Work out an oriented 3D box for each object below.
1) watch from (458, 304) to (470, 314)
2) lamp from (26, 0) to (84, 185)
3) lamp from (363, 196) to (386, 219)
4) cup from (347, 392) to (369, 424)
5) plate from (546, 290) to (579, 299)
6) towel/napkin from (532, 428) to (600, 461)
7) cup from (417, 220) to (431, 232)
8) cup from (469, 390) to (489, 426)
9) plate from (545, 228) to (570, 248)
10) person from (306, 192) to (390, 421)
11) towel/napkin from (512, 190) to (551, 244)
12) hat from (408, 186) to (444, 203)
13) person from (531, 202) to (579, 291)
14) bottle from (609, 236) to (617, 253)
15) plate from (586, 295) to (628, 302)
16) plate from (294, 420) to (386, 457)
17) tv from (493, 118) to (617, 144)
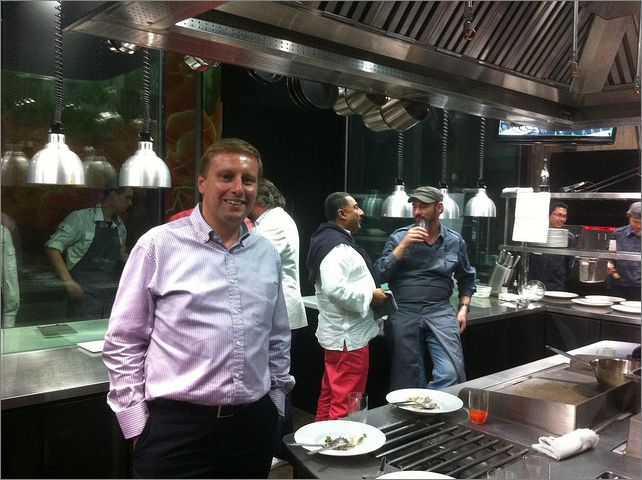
[{"bbox_3d":[1.162,0.532,3.857,0.089,0.051,0.104,7,-7,11],"label":"watch"},{"bbox_3d":[-1.458,-0.729,2.627,0.207,0.834,0.233,4,5,35],"label":"lamp"},{"bbox_3d":[0.695,-0.429,6.126,0.268,0.250,0.261,3,1,-10],"label":"lamp"},{"bbox_3d":[0.154,0.695,1.986,0.078,0.143,0.112,2,4,4],"label":"cup"},{"bbox_3d":[2.521,0.564,5.009,0.303,0.067,0.264,3,5,24],"label":"plate"},{"bbox_3d":[0.964,0.762,1.863,0.156,0.045,0.118,-3,-1,-29],"label":"towel/napkin"},{"bbox_3d":[0.750,-0.109,3.456,0.134,0.080,0.070,-3,6,-44],"label":"cup"},{"bbox_3d":[0.673,0.696,2.046,0.077,0.155,0.073,1,4,0],"label":"cup"},{"bbox_3d":[2.288,-0.028,4.612,0.196,0.133,0.195,3,3,24],"label":"plate"},{"bbox_3d":[0.174,0.508,3.461,0.482,1.706,0.554,-2,5,-40],"label":"person"},{"bbox_3d":[1.894,-0.219,4.308,0.274,0.438,0.171,3,4,25],"label":"towel/napkin"},{"bbox_3d":[0.830,-0.338,3.612,0.207,0.078,0.138,-1,3,-43],"label":"hat"},{"bbox_3d":[2.674,0.203,5.478,0.446,1.219,0.354,19,35,40],"label":"person"},{"bbox_3d":[2.689,0.035,4.401,0.045,0.109,0.109,3,4,22],"label":"bottle"},{"bbox_3d":[2.833,0.569,4.807,0.200,0.026,0.192,-2,2,-17],"label":"plate"},{"bbox_3d":[0.070,0.760,1.853,0.346,0.060,0.230,1,4,-4],"label":"plate"},{"bbox_3d":[2.325,-1.078,4.759,1.069,0.254,0.367,3,5,22],"label":"tv"}]
